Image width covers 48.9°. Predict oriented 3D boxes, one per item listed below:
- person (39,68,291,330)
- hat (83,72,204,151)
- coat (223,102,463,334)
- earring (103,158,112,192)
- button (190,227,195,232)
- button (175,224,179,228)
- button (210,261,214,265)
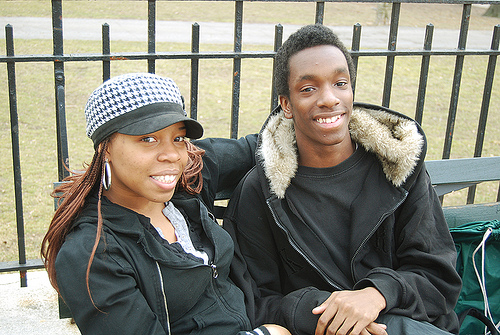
[{"bbox_3d":[-0.641,0.271,3.690,1.323,1.729,0.615,-7,0,-22],"label":"person"},{"bbox_3d":[-0.696,-0.417,3.675,0.730,0.392,0.554,0,8,39],"label":"hat"},{"bbox_3d":[0.685,0.441,4.298,1.515,1.784,0.710,-5,2,-1],"label":"coat"},{"bbox_3d":[-0.912,0.048,3.520,0.061,0.219,0.182,-7,0,-14],"label":"earring"},{"bbox_3d":[-0.390,0.426,3.779,0.008,0.023,0.025,-37,-33,27],"label":"button"},{"bbox_3d":[-0.491,0.392,3.717,0.040,0.026,0.009,6,-1,-6],"label":"button"},{"bbox_3d":[-0.251,0.637,3.686,0.018,0.016,0.004,4,-7,35],"label":"button"}]
